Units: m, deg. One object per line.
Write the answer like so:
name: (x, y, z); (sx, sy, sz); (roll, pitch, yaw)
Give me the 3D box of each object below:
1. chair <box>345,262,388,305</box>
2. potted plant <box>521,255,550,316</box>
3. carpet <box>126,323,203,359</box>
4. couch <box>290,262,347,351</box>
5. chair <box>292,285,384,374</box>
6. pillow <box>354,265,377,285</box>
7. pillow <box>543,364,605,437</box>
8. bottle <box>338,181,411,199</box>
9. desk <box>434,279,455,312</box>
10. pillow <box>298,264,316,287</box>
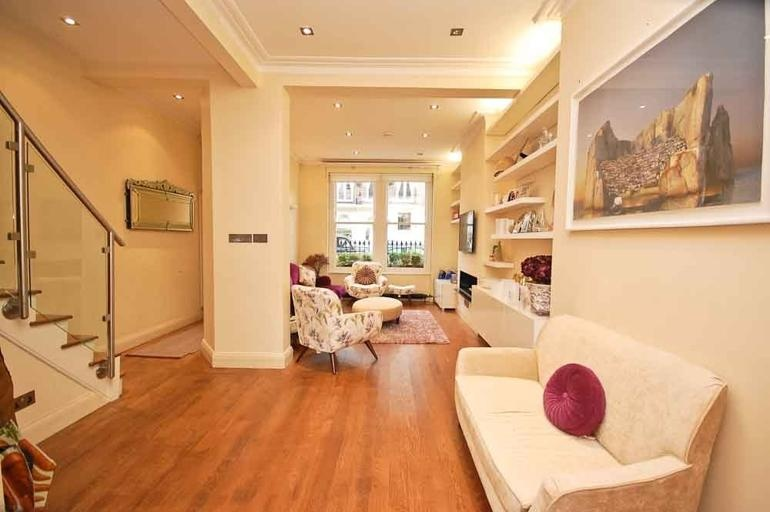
chair: (-0.329, 0.482, 8.145); (0.756, 0.728, 0.719); (-5, 8, -41)
potted plant: (1.470, 0.272, 4.641); (0.191, 0.552, 0.447); (-4, 8, -20)
carpet: (-2.555, 1.069, 5.860); (0.776, 0.064, 0.884); (-1, 7, -1)
couch: (-0.726, 0.584, 6.859); (1.137, 1.246, 0.960); (0, 0, -4)
chair: (-0.587, 0.746, 5.480); (0.834, 0.937, 0.795); (-8, 13, -43)
pillow: (-0.325, 0.326, 8.242); (0.301, 0.311, 0.107); (4, -14, 5)
pillow: (1.398, 1.065, 3.587); (0.156, 0.462, 0.458); (20, -33, -28)
bottle: (-0.190, -1.251, 9.248); (1.384, 0.341, 0.104); (-2, 7, -3)
desk: (1.030, 0.653, 8.215); (0.299, 0.436, 0.880); (-1, 7, 2)
pillow: (-1.003, 0.303, 6.293); (0.239, 0.237, 0.117); (19, -24, -33)
